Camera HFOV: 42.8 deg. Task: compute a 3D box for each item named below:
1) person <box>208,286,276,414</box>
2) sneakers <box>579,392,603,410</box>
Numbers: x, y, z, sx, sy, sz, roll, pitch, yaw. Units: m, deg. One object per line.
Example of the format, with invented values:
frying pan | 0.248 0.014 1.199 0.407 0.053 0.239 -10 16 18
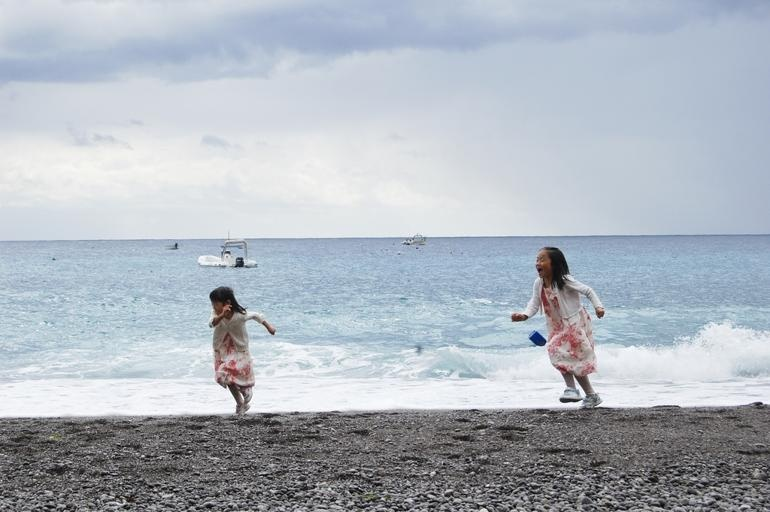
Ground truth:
person | -2.896 1.818 19.059 0.968 2.061 1.283 -2 1 -8
sneakers | 3.907 2.747 18.751 0.507 0.183 0.185 -23 20 -1
